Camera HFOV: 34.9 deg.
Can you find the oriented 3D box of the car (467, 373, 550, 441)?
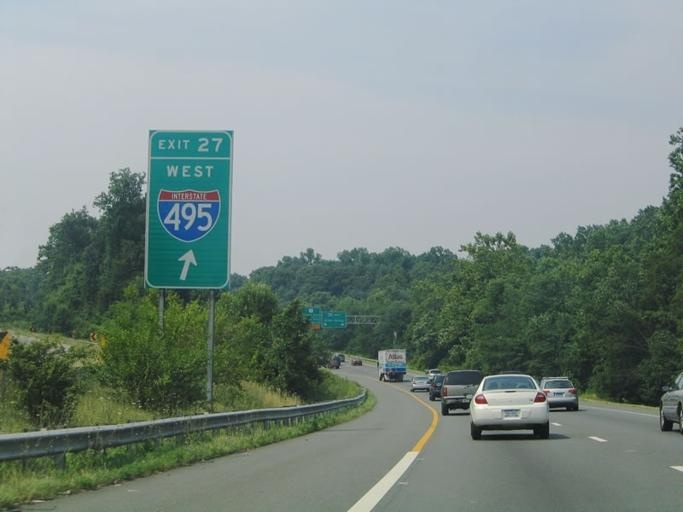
[{"bbox_3d":[5.534,5.013,35.746,2.474,2.252,1.033,4,-6,5],"label":"car"}]
